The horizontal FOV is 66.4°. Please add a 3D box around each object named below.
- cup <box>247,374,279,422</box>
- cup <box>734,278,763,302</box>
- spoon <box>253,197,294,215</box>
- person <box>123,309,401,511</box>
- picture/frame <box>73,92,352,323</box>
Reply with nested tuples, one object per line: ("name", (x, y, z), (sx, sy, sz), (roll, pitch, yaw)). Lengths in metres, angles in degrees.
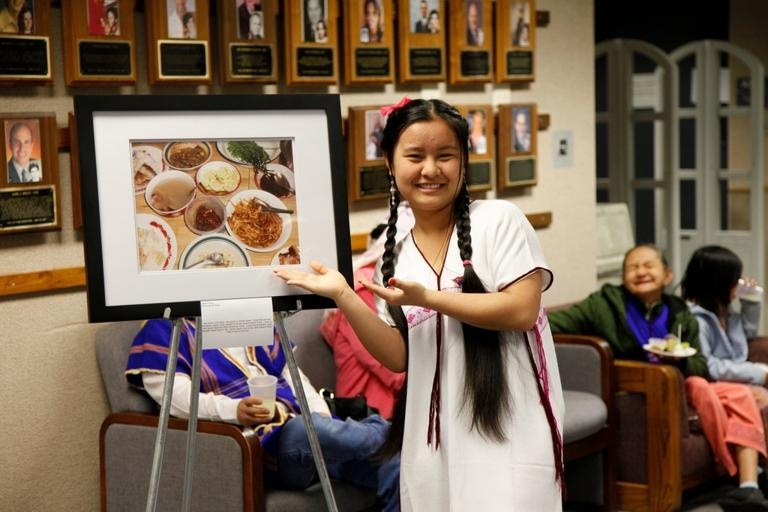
("cup", (-0.451, 0.520, 2.175), (0.140, 0.164, 0.141), (-1, 2, 0))
("cup", (2.255, 0.223, 3.601), (0.113, 0.112, 0.164), (10, -12, 13))
("spoon", (-0.356, -0.152, 1.824), (0.157, 0.044, 0.023), (10, -2, 11))
("person", (-0.514, 0.632, 2.756), (1.115, 1.160, 0.794), (-6, -7, 36))
("picture/frame", (-0.531, -0.147, 1.778), (0.664, 0.568, 0.048), (-3, -7, -13))
